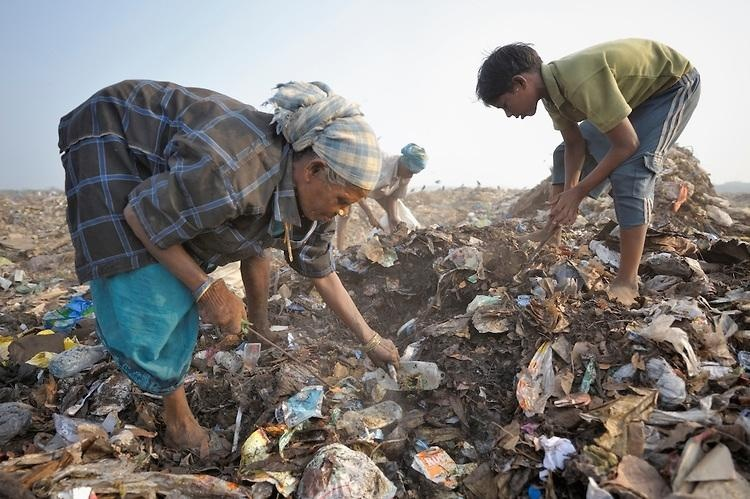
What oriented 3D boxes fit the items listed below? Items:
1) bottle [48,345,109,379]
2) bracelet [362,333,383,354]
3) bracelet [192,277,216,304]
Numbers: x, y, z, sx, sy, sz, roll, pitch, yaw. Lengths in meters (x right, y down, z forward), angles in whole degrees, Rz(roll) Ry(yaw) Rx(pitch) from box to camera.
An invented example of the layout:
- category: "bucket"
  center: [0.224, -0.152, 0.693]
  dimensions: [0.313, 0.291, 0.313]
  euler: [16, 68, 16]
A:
- category: "bottle"
  center: [-2.266, 0.835, 3.806]
  dimensions: [0.213, 0.135, 0.349]
  euler: [28, 30, 33]
- category: "bracelet"
  center: [-0.008, 0.680, 3.619]
  dimensions: [0.125, 0.054, 0.121]
  euler: [-48, -16, 23]
- category: "bracelet"
  center: [-1.057, 0.238, 3.090]
  dimensions: [0.039, 0.135, 0.140]
  euler: [41, -44, -15]
